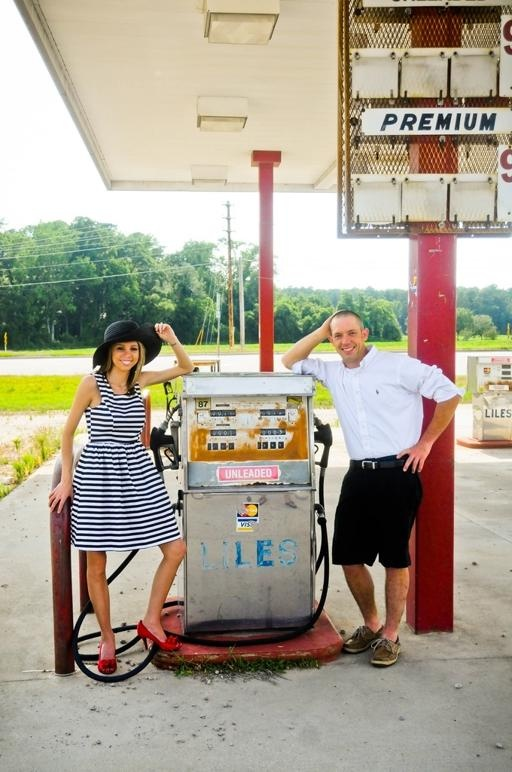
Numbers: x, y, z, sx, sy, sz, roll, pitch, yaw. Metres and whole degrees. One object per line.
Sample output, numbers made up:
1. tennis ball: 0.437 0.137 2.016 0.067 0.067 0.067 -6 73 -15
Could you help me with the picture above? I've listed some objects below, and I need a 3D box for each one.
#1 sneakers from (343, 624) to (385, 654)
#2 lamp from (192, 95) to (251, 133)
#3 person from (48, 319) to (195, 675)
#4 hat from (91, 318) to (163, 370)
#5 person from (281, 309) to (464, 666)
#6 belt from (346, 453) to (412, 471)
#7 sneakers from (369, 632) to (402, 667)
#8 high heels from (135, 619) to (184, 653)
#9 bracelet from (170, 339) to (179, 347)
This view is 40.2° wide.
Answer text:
1. sneakers: 0.541 1.253 3.478 0.083 0.097 0.237 -18 -15 37
2. lamp: -0.377 -2.969 7.655 0.537 0.169 0.655 0 3 -6
3. person: -0.615 0.449 3.228 0.640 1.502 0.467 -1 3 -19
4. hat: -0.646 -0.227 3.346 0.235 0.106 0.282 -8 -37 -33
5. person: 0.590 0.472 3.381 0.735 1.672 0.373 1 3 17
6. belt: 0.589 0.363 3.343 0.261 0.075 0.073 0 3 11
7. sneakers: 0.609 1.243 3.294 0.126 0.112 0.138 0 3 9
8. high heels: -0.448 1.167 3.278 0.245 0.109 0.092 27 -5 -1
9. bracelet: -0.396 -0.214 3.407 0.038 0.046 0.041 4 10 19
